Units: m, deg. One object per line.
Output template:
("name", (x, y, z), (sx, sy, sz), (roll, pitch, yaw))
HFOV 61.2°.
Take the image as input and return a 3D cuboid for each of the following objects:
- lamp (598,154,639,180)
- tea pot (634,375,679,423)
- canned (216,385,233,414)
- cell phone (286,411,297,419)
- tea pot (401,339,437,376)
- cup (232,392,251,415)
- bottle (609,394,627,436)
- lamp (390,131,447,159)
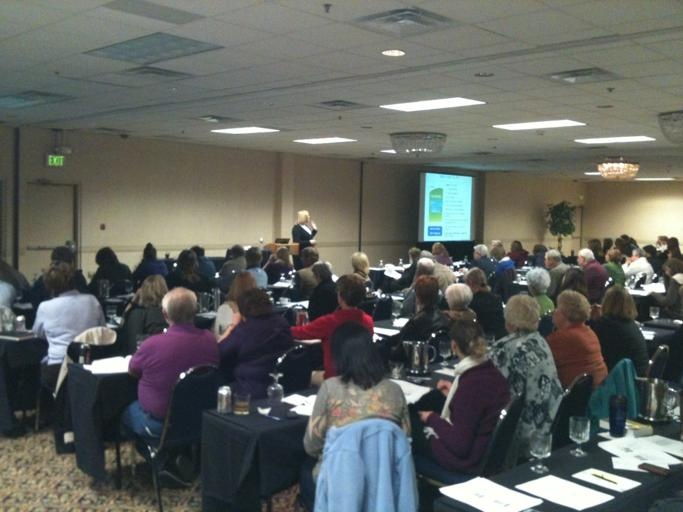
("lamp", (6.263, -2.038, 13.043), (0.736, 0.361, 0.738), (2, -2, -2))
("tea pot", (2.147, 1.001, 4.016), (0.295, 0.287, 0.233), (-1, -3, 17))
("canned", (-0.805, 0.971, 3.963), (0.106, 0.199, 0.164), (-3, 14, -15))
("cell phone", (-0.328, 1.075, 3.910), (0.069, 0.011, 0.081), (-1, 13, -8))
("tea pot", (0.646, 0.849, 4.942), (0.357, 0.302, 0.263), (1, 7, 22))
("cup", (-0.679, 1.015, 3.988), (0.123, 0.126, 0.131), (0, 0, 0))
("bottle", (1.789, 1.032, 3.722), (0.108, 0.246, 0.107), (1, 14, 0))
("lamp", (1.406, -2.084, 10.584), (0.959, 0.388, 0.390), (2, 14, 4))
